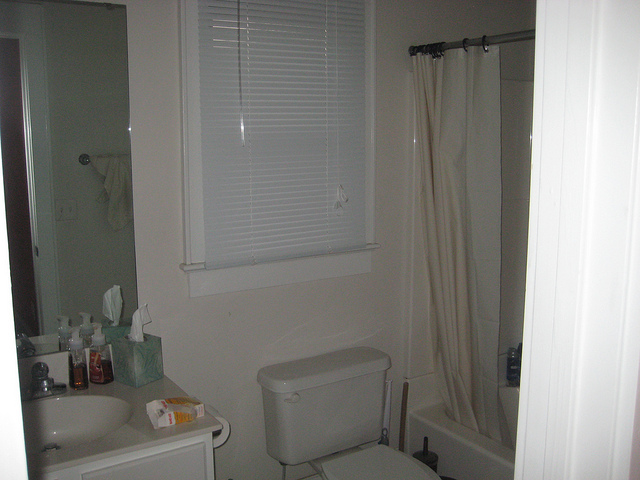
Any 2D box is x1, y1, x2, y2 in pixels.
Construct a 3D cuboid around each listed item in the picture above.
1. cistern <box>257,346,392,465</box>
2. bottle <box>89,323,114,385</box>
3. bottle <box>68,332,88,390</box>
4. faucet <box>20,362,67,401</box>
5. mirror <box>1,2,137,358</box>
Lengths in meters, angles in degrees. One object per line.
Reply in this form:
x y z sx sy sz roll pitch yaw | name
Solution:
0.046 0.703 2.429 0.570 0.410 0.282 -10 18 -20 | cistern
-0.841 0.431 2.076 0.089 0.246 0.092 -5 -9 -1 | bottle
-0.880 0.438 2.014 0.060 0.199 0.061 -3 9 1 | bottle
-0.969 0.494 1.950 0.110 0.114 0.149 6 13 45 | faucet
-0.888 -0.208 2.005 0.493 1.225 0.088 -8 10 -26 | mirror
